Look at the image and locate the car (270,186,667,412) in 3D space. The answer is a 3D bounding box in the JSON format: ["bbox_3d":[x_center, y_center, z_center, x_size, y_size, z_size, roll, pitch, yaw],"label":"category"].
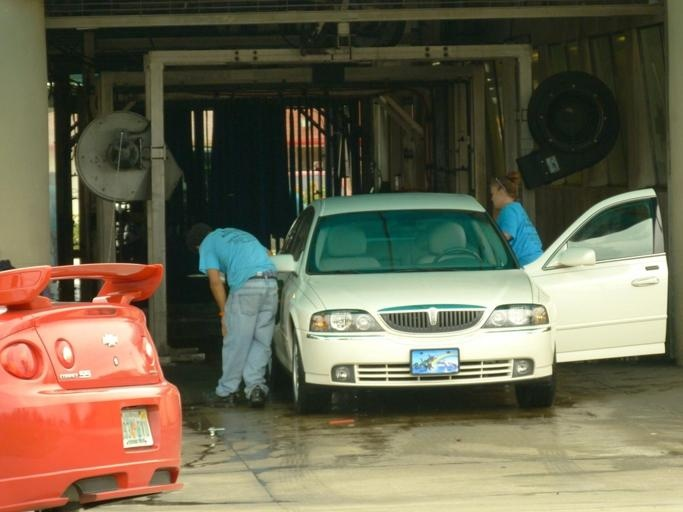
[{"bbox_3d":[1.226,0.446,11.943,3.763,1.984,1.865,-2,5,-4],"label":"car"}]

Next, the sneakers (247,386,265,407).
[{"bbox_3d":[-0.845,1.418,12.165,0.189,0.208,0.173,-3,5,-17],"label":"sneakers"}]

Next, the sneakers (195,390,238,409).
[{"bbox_3d":[-1.264,1.470,12.398,0.421,0.279,0.170,9,-1,3],"label":"sneakers"}]

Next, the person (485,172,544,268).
[{"bbox_3d":[1.960,-0.157,13.341,0.510,1.412,0.580,-2,-11,-2],"label":"person"}]
